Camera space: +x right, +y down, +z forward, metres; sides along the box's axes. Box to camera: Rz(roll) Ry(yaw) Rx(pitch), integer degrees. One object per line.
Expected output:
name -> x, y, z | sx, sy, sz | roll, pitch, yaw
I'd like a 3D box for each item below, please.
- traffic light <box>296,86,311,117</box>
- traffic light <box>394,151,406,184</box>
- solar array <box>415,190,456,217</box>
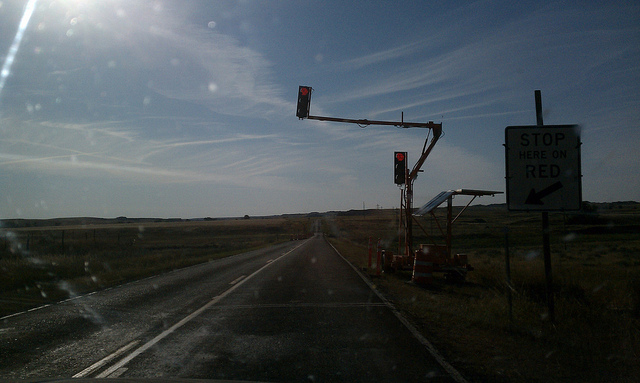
traffic light -> -0.862, -4.934, 24.672 | 0.670, 1.666, 0.480 | 0, -1, 7
traffic light -> 4.432, -1.300, 24.662 | 0.587, 1.756, 0.646 | 0, -1, 8
solar array -> 5.424, 0.561, 21.045 | 1.716, 1.140, 1.104 | -1, -1, 16
